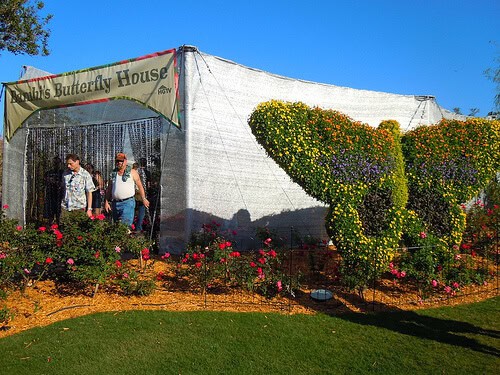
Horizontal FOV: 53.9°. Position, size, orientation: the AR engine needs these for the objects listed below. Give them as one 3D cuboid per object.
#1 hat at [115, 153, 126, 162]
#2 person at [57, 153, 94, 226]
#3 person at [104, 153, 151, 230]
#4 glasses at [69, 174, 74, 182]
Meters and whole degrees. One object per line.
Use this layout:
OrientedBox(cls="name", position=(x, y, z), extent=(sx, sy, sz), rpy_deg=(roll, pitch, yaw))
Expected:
OrientedBox(cls="hat", position=(-2.930, -0.693, 11.213), extent=(0.185, 0.147, 0.272), rpy_deg=(0, -13, 0))
OrientedBox(cls="person", position=(-3.914, -0.047, 11.167), extent=(0.732, 1.399, 0.732), rpy_deg=(1, -3, -19))
OrientedBox(cls="person", position=(-2.864, 0.041, 11.344), extent=(0.954, 1.594, 0.645), rpy_deg=(0, -3, -6))
OrientedBox(cls="glasses", position=(-4.080, -0.217, 11.204), extent=(0.040, 0.119, 0.129), rpy_deg=(32, 6, -34))
